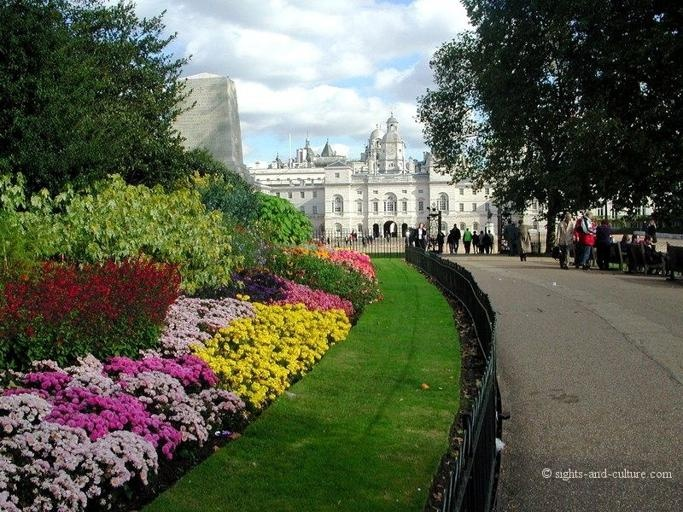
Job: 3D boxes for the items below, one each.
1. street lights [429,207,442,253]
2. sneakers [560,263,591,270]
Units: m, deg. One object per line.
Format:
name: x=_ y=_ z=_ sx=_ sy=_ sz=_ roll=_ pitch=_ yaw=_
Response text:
street lights: x=4.610 y=-1.180 z=33.470 sx=0.604 sy=2.114 sz=0.501 roll=3 pitch=3 yaw=4
sneakers: x=6.590 y=0.288 z=18.779 sx=0.556 sy=0.224 sz=0.109 roll=3 pitch=8 yaw=9
